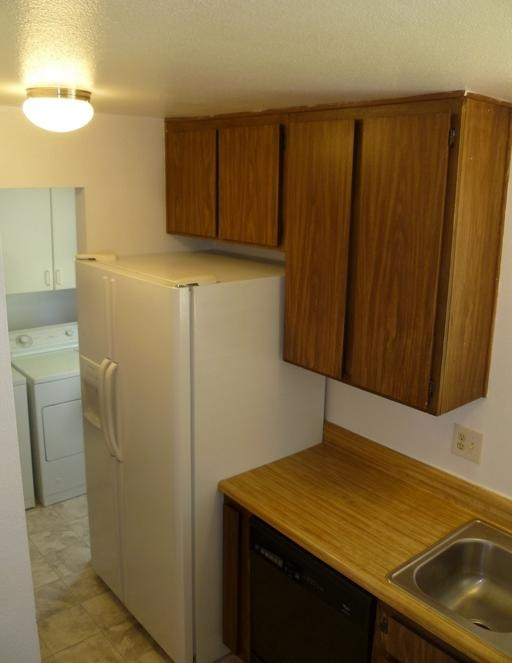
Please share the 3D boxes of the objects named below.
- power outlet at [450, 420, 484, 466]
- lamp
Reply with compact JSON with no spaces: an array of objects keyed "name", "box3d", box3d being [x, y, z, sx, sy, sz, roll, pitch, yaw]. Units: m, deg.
[{"name":"power outlet","box3d":[0.739,0.386,1.878,0.017,0.163,0.131,-9,19,-27]},{"name":"lamp","box3d":[-0.630,-0.707,1.711,0.198,0.108,0.195,1,12,5]}]
